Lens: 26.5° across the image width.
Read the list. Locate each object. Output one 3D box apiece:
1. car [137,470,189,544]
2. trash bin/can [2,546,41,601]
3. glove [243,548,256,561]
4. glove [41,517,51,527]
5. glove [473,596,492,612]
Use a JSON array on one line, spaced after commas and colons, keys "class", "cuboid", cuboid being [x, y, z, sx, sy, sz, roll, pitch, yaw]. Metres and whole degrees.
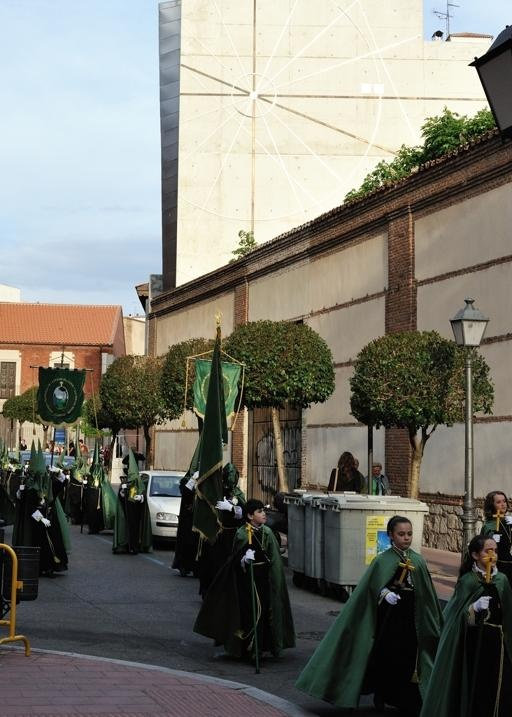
[{"class": "car", "cuboid": [-1.641, 2.698, 20.114, 0.923, 1.044, 1.960, 1, -8, -13]}, {"class": "trash bin/can", "cuboid": [-1.976, 1.804, 9.087, 0.291, 0.452, 0.425, 2, -7, -4]}, {"class": "glove", "cuboid": [-0.059, 1.660, 9.190, 0.088, 0.099, 0.083, -19, 26, -17]}, {"class": "glove", "cuboid": [-2.792, 2.177, 14.534, 0.047, 0.093, 0.135, -14, 34, -17]}, {"class": "glove", "cuboid": [1.335, 1.449, 6.411, 0.099, 0.038, 0.077, -18, -28, 31]}]
